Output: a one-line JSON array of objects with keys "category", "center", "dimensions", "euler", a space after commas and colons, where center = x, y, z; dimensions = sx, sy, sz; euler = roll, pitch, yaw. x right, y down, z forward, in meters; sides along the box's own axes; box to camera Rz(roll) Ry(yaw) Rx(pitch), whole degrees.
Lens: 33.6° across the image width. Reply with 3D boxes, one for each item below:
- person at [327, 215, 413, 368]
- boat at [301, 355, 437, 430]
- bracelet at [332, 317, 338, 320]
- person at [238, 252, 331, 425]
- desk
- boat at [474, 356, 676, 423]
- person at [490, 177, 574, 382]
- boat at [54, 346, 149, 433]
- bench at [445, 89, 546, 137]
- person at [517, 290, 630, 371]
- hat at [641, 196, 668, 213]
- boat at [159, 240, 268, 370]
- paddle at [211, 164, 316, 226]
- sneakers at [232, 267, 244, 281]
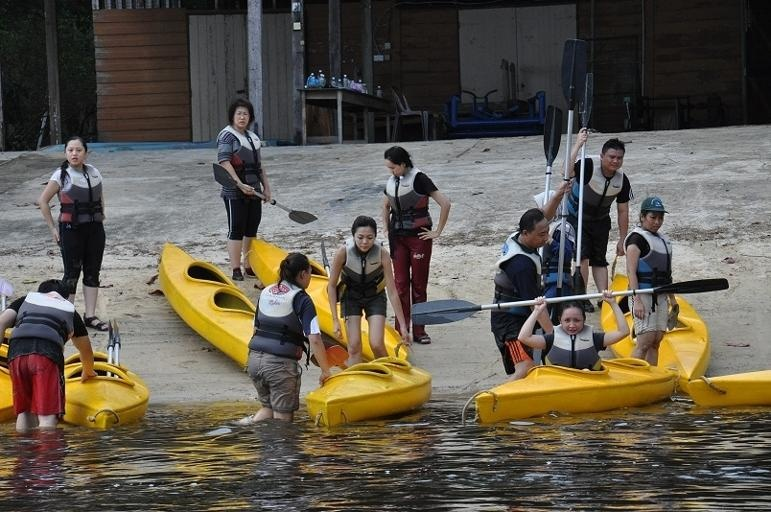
[{"category": "person", "center": [-0.202, 0.358, 13.649], "dimensions": [0.817, 1.556, 0.399], "euler": [-3, 7, -11]}, {"category": "boat", "center": [-0.179, 1.446, 13.658], "dimensions": [1.121, 0.504, 1.925], "euler": [-9, 2, 28]}, {"category": "bracelet", "center": [-0.536, 0.653, 13.499], "dimensions": [0.033, 0.032, 0.034], "euler": [-2, 1, -45]}, {"category": "person", "center": [-1.034, 0.819, 13.047], "dimensions": [0.877, 1.689, 0.353], "euler": [-2, 7, -5]}, {"category": "desk", "center": [-0.837, -2.506, 23.190], "dimensions": [0.953, 0.968, 2.918], "euler": [-1, 6, 9]}, {"category": "boat", "center": [1.907, 1.311, 13.216], "dimensions": [2.291, 0.407, 0.701], "euler": [-6, 6, -13]}, {"category": "person", "center": [1.601, 0.326, 13.887], "dimensions": [0.962, 2.842, 0.839], "euler": [-13, 44, -7]}, {"category": "boat", "center": [-3.143, 1.376, 13.788], "dimensions": [1.048, 0.500, 1.773], "euler": [5, 12, -23]}, {"category": "bench", "center": [2.058, -2.618, 24.162], "dimensions": [1.779, 0.683, 1.637], "euler": [0, 6, 0]}, {"category": "person", "center": [1.946, 0.785, 13.419], "dimensions": [0.917, 1.181, 0.298], "euler": [-2, -8, 1]}, {"category": "hat", "center": [2.812, -0.550, 13.539], "dimensions": [0.195, 0.109, 0.228], "euler": [7, -13, -26]}, {"category": "boat", "center": [-2.173, 0.421, 15.400], "dimensions": [0.764, 0.391, 2.324], "euler": [0, 32, -42]}, {"category": "paddle", "center": [-1.421, -0.691, 16.087], "dimensions": [0.389, 0.242, 2.698], "euler": [-40, -15, 7]}, {"category": "sneakers", "center": [-1.855, 0.225, 16.072], "dimensions": [0.140, 0.149, 0.139], "euler": [-3, -34, 0]}]
